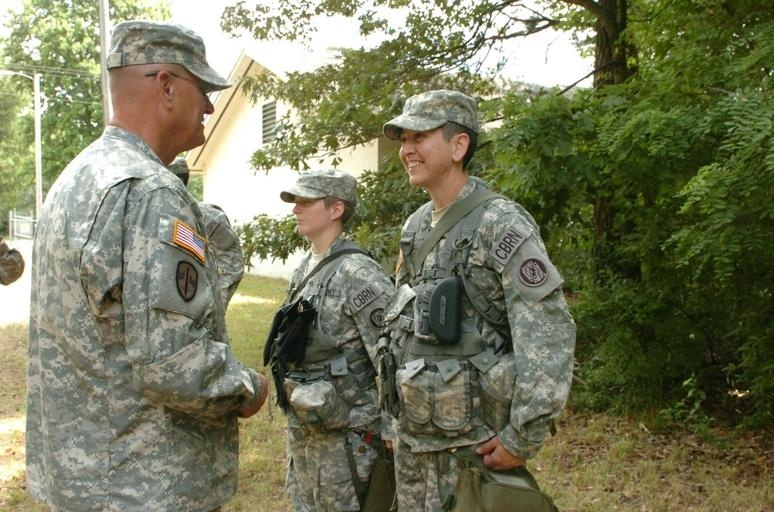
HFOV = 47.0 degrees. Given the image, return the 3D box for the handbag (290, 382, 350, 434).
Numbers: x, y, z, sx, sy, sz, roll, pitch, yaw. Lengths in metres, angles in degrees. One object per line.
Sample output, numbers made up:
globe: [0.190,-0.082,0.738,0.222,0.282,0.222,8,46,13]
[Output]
handbag: [-0.591,1.336,7.878,0.357,0.238,0.333,-17,-59,37]

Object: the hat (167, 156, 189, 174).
hat: [-2.113,-0.937,8.994,0.292,0.155,0.403,-1,8,-12]

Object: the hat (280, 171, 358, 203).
hat: [-0.626,-0.665,8.591,0.553,0.199,0.362,1,-2,-27]
